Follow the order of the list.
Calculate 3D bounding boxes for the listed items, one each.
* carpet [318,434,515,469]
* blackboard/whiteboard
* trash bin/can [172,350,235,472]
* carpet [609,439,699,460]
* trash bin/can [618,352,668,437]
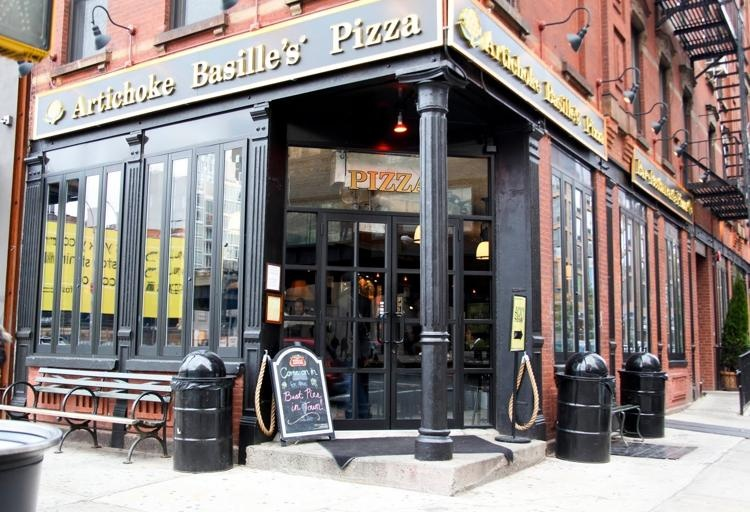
[{"bbox_3d":[0.503,2.947,11.416,2.666,0.475,1.198,7,0,-8],"label":"carpet"},{"bbox_3d":[-1.159,2.151,11.694,0.979,1.445,0.109,4,-22,-39],"label":"blackboard/whiteboard"},{"bbox_3d":[-2.492,2.295,11.519,0.893,1.708,0.924,10,-1,22],"label":"trash bin/can"},{"bbox_3d":[4.767,3.350,13.020,1.272,0.141,1.430,6,0,25],"label":"carpet"},{"bbox_3d":[5.087,2.627,14.498,0.833,1.491,0.856,2,2,27],"label":"trash bin/can"}]
